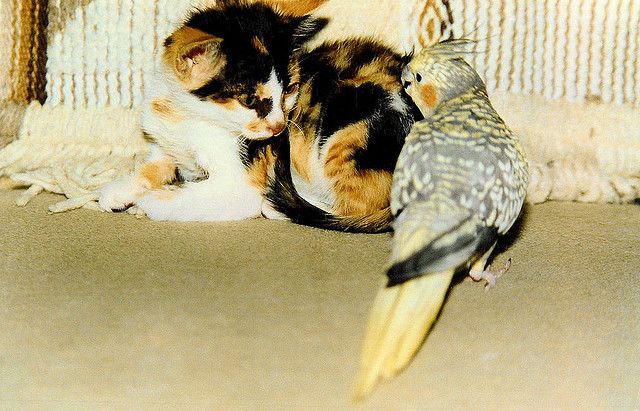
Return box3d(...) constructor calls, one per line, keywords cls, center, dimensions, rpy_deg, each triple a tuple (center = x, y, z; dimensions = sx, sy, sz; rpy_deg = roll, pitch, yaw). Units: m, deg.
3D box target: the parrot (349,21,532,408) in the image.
box3d(cls="parrot", center=(0.279, 0.013, 1.817), dimensions=(0.368, 0.880, 0.418), rpy_deg=(1, 3, 7))
